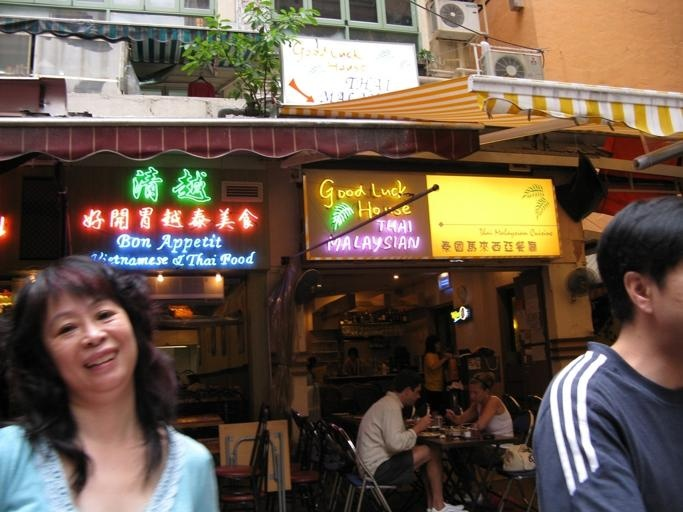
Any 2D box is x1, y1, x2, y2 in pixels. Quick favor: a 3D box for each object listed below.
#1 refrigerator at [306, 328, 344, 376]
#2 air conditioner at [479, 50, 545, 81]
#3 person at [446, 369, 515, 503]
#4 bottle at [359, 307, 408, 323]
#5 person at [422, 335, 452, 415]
[{"bbox_3d":[-0.254,2.063,14.630,0.986,1.288,0.903,1,-15,-7],"label":"refrigerator"},{"bbox_3d":[2.504,-2.884,9.982,1.342,0.441,0.426,-1,0,-37],"label":"air conditioner"},{"bbox_3d":[1.327,1.656,6.434,0.633,1.268,0.481,1,-4,-12],"label":"person"},{"bbox_3d":[0.938,1.290,14.348,1.063,0.301,0.335,-1,0,-23],"label":"bottle"},{"bbox_3d":[1.537,1.869,10.438,0.495,1.336,0.519,1,1,-10],"label":"person"}]
